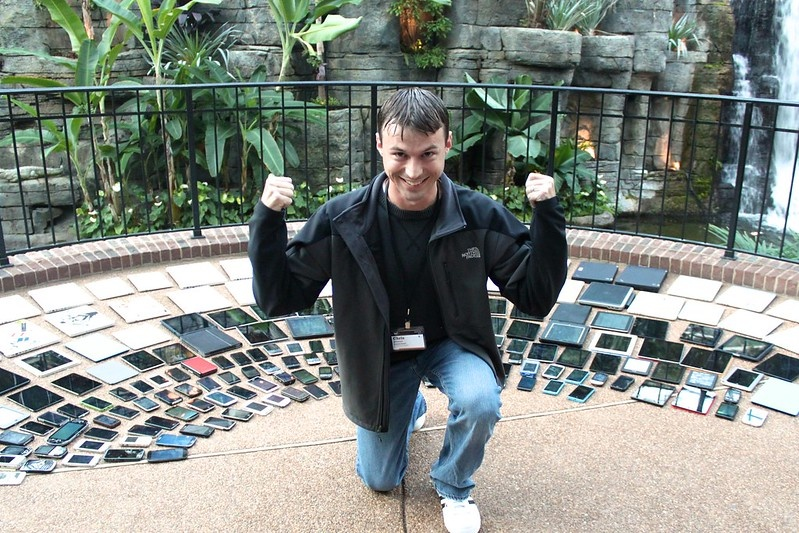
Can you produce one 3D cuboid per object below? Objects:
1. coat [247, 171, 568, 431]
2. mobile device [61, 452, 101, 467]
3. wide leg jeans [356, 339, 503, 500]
[{"bbox_3d":[0.049,0.169,2.776,1.548,1.140,0.484,-3,1,-4],"label":"coat"},{"bbox_3d":[-1.841,1.120,3.228,0.202,0.023,0.100,2,25,9],"label":"mobile device"},{"bbox_3d":[0.138,0.796,2.871,0.638,0.750,0.575,-7,38,-12],"label":"wide leg jeans"}]
